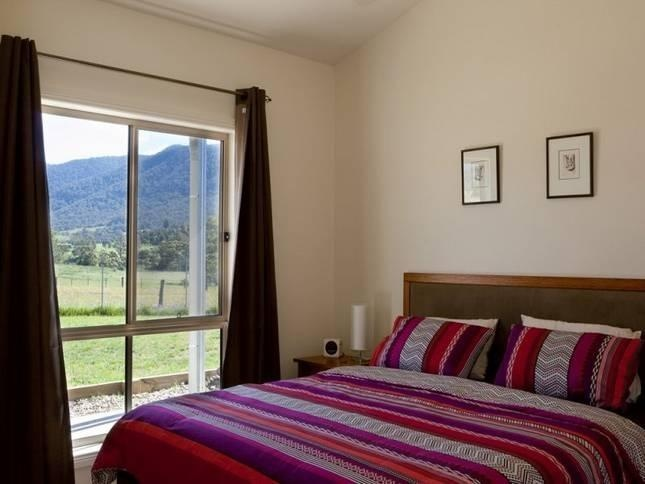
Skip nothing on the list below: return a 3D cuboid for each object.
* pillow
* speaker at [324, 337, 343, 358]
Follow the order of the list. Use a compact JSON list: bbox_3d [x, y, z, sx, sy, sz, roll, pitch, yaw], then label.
[{"bbox_3d":[1.196,0.715,3.167,1.474,0.380,0.450,1,4,35],"label":"pillow"},{"bbox_3d":[0.084,0.949,4.353,0.144,0.155,0.150,-2,1,-1],"label":"speaker"}]
